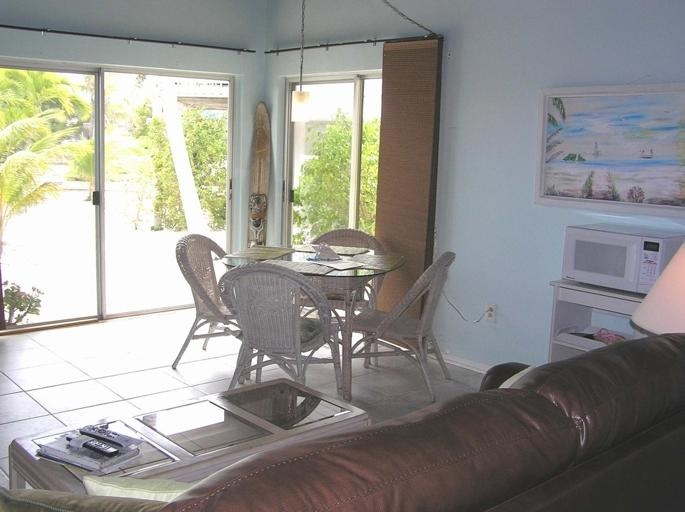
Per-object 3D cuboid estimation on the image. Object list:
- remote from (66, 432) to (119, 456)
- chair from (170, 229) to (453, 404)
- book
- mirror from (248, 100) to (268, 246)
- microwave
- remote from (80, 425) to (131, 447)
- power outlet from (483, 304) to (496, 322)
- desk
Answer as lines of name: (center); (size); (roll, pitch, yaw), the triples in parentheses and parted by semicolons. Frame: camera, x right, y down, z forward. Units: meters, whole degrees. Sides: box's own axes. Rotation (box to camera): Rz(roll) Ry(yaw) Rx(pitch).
remote: (-0.816, 0.617, 1.669); (0.197, 0.037, 0.068); (13, 19, 27)
chair: (-0.579, 0.413, 4.131); (1.483, 0.915, 1.201); (0, 7, 25)
book: (-0.825, 0.631, 1.656); (0.157, 0.040, 0.155); (8, 9, 18)
mirror: (-0.963, -0.903, 5.915); (0.227, 1.686, 0.237); (2, 13, 5)
microwave: (1.781, -0.098, 3.227); (0.466, 0.379, 0.615); (-5, 9, -39)
remote: (-0.789, 0.607, 1.718); (0.122, 0.016, 0.043); (13, 19, 33)
power outlet: (1.217, 0.472, 4.252); (0.112, 0.149, 0.014); (12, 15, 40)
desk: (1.683, 0.487, 3.335); (0.360, 0.476, 0.531); (3, 2, -19)
